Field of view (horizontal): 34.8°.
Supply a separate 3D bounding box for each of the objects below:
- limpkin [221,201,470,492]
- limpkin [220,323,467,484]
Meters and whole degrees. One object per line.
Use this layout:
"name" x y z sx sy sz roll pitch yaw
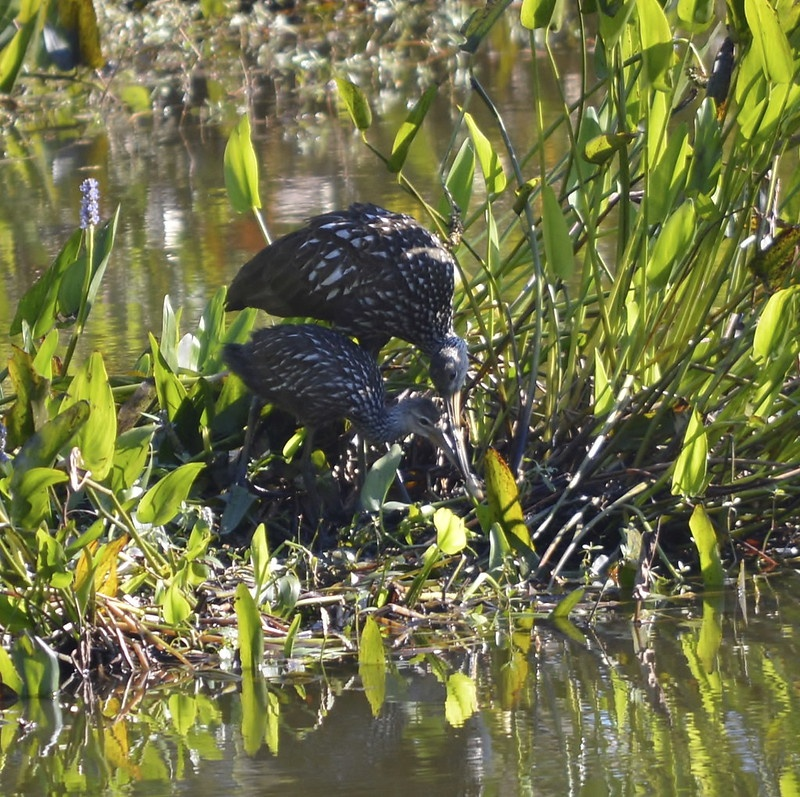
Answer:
"limpkin" -0.144 -0.221 3.823 0.875 0.700 0.425 19 24 35
"limpkin" -0.165 0.011 3.377 0.640 0.253 0.400 14 48 -5
